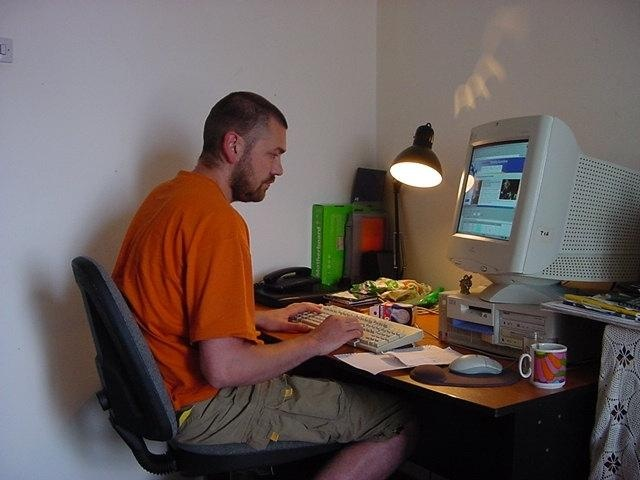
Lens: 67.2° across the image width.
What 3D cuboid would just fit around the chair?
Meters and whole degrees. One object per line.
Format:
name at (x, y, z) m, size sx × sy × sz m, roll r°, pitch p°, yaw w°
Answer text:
chair at (-0.409, 0.392, 1.431) m, size 0.751 × 0.693 × 0.556 m, roll -2°, pitch 1°, yaw -31°

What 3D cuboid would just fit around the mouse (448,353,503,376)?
mouse at (0.463, 0.352, 1.406) m, size 0.111 × 0.038 × 0.069 m, roll -5°, pitch 7°, yaw -6°

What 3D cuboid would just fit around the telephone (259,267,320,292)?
telephone at (-0.132, 0.177, 2.158) m, size 0.174 × 0.061 × 0.133 m, roll -2°, pitch 6°, yaw -30°

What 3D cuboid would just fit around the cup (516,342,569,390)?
cup at (0.628, 0.355, 1.389) m, size 0.145 × 0.113 × 0.094 m, roll -4°, pitch 5°, yaw -20°
